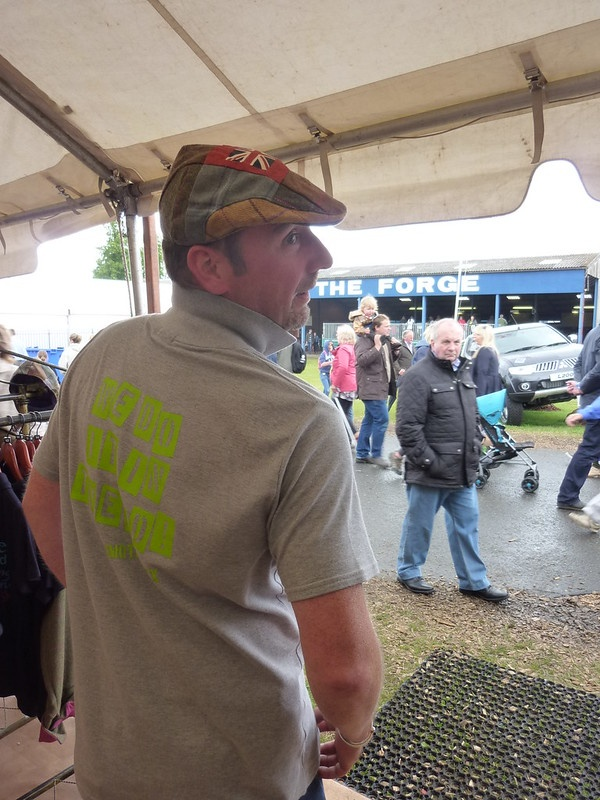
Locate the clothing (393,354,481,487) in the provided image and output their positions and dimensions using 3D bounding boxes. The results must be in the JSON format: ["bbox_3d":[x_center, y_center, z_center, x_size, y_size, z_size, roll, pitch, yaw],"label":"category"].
[{"bbox_3d":[0.987,0.144,4.428,0.611,0.957,0.383,-1,6,7],"label":"clothing"}]
